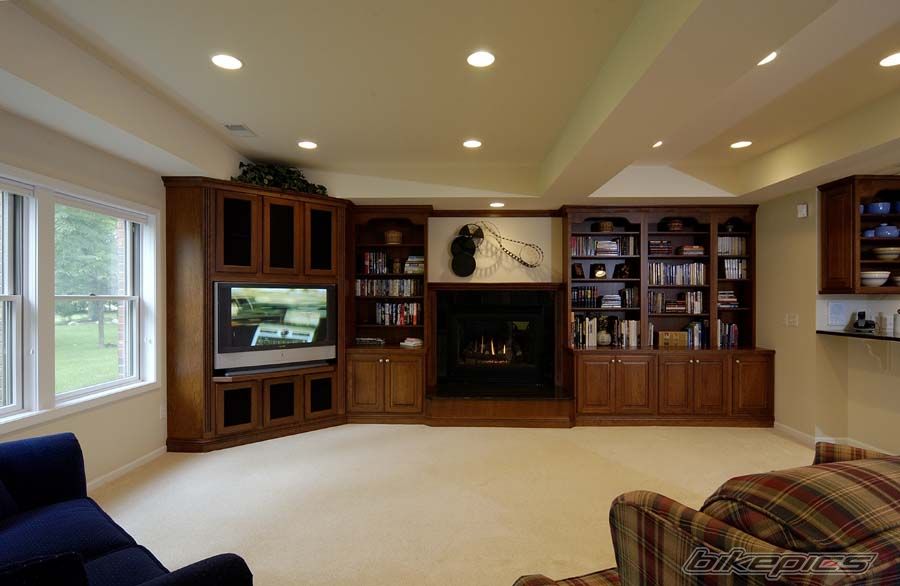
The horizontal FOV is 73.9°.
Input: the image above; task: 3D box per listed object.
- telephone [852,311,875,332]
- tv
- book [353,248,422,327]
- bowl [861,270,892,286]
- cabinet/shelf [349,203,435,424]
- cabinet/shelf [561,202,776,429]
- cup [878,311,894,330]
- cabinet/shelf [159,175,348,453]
[{"bbox_3d":[4.237,0.297,6.229,0.256,0.248,0.194,0,-1,26],"label":"telephone"},{"bbox_3d":[-1.930,0.385,6.450,1.113,0.741,0.109,1,-4,-33],"label":"tv"},{"bbox_3d":[-0.782,-0.028,7.389,1.002,0.882,0.288,0,-5,-2],"label":"book"},{"bbox_3d":[4.222,-0.122,5.955,0.195,0.103,0.193,1,-6,0],"label":"bowl"},{"bbox_3d":[-0.743,0.268,7.285,1.020,2.400,0.531,1,-1,1],"label":"cabinet/shelf"},{"bbox_3d":[2.629,0.305,7.119,2.680,3.018,1.065,0,-3,2],"label":"cabinet/shelf"},{"bbox_3d":[4.418,0.289,6.073,0.148,0.174,0.283,11,18,36],"label":"cup"},{"bbox_3d":[-2.083,0.191,6.347,1.934,2.760,0.817,-7,17,-26],"label":"cabinet/shelf"}]
